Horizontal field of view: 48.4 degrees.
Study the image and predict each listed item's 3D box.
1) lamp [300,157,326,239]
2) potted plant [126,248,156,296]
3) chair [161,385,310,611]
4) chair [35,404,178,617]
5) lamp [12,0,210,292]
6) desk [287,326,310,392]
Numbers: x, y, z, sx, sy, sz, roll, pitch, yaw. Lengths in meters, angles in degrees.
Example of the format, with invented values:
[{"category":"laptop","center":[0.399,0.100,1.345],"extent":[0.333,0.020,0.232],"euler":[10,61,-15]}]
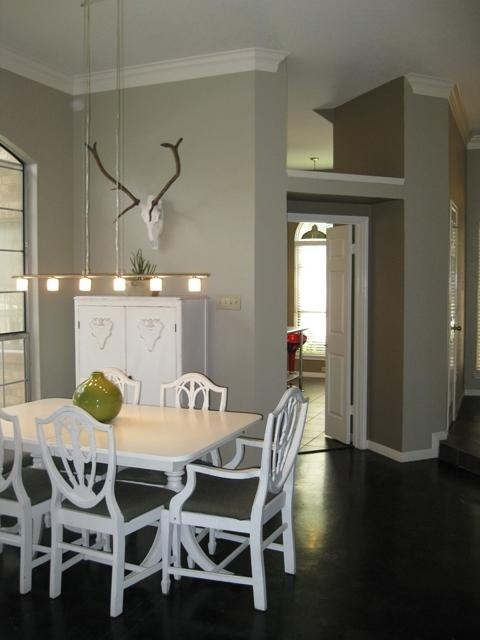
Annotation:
[{"category":"lamp","center":[1.077,-1.757,7.827],"extent":[0.311,1.111,0.994],"euler":[1,0,9]},{"category":"potted plant","center":[-0.722,-0.357,3.893],"extent":[0.156,0.289,0.155],"euler":[-4,-7,23]},{"category":"chair","center":[0.005,0.733,2.393],"extent":[0.439,0.995,0.521],"euler":[4,6,20]},{"category":"chair","center":[-0.574,0.763,2.324],"extent":[0.399,0.959,0.502],"euler":[4,8,17]},{"category":"lamp","center":[-0.924,-1.300,3.916],"extent":[1.180,2.166,0.444],"euler":[2,14,1]},{"category":"desk","center":[0.816,0.551,7.595],"extent":[0.285,0.895,2.245],"euler":[1,0,7]}]
